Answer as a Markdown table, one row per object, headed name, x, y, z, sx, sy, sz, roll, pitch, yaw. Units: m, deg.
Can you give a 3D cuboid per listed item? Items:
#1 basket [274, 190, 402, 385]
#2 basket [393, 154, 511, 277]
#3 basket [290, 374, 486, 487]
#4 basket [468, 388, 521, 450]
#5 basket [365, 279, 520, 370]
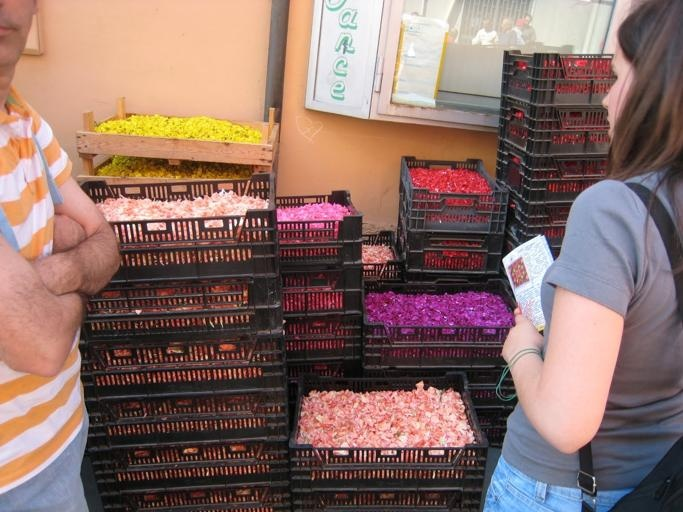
| name | x | y | z | sx | sy | sz | roll | pitch | yaw |
| --- | --- | --- | --- | --- | --- | --- | --- | --- | --- |
| basket | -0.046 | 0.066 | 3.224 | 0.539 | 0.664 | 0.894 | -1 | 33 | -2 |
| basket | 0.704 | -0.318 | 3.843 | 0.555 | 0.517 | 0.876 | 1 | 26 | 1 |
| basket | 0.258 | 0.854 | 2.693 | 0.710 | 0.218 | 0.487 | -2 | 26 | -1 |
| basket | 0.839 | 0.876 | 3.171 | 0.250 | 0.128 | 0.383 | 1 | 21 | 6 |
| basket | 0.543 | 0.404 | 3.177 | 0.654 | 0.212 | 0.499 | 0 | 29 | 2 |
